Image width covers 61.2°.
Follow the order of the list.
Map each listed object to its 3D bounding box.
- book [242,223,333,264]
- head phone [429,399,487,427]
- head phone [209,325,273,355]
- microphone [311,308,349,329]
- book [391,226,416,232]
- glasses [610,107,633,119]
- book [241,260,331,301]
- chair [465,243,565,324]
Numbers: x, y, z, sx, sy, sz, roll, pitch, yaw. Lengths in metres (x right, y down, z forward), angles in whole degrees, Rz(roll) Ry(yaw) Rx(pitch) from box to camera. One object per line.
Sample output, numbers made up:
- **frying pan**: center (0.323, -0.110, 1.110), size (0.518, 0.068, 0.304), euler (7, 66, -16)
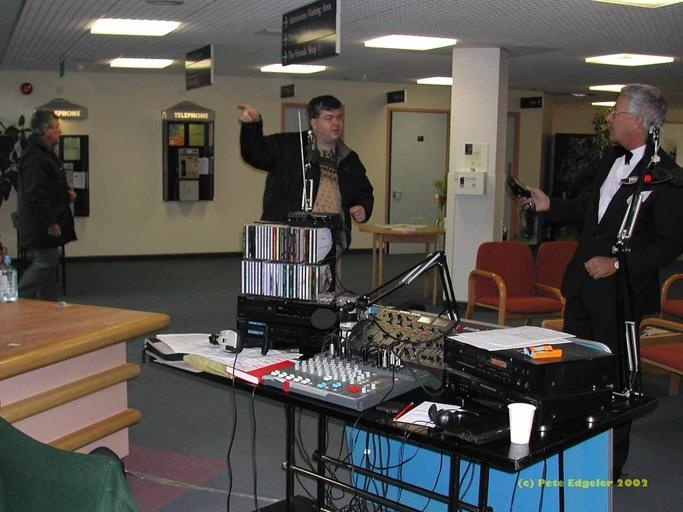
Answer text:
- **book**: center (-0.305, -0.061, 2.932), size (0.434, 0.179, 0.101), euler (3, 6, 25)
- **head phone**: center (0.373, 0.520, 1.930), size (0.118, 0.054, 0.084), euler (0, 4, -39)
- **head phone**: center (-0.408, 0.373, 2.542), size (0.204, 0.081, 0.144), euler (4, -6, -38)
- **microphone**: center (-0.061, 0.276, 2.546), size (0.148, 0.080, 0.042), euler (1, 6, -1)
- **book**: center (0.814, -0.345, 7.491), size (0.271, 0.077, 0.544), euler (2, 5, 7)
- **glasses**: center (1.388, -0.709, 2.874), size (0.039, 0.041, 0.130), euler (-2, 6, -24)
- **book**: center (-0.297, 0.118, 2.907), size (0.460, 0.178, 0.168), euler (2, 6, 14)
- **chair**: center (1.527, 0.250, 5.441), size (0.773, 1.003, 0.798), euler (0, 1, -21)
